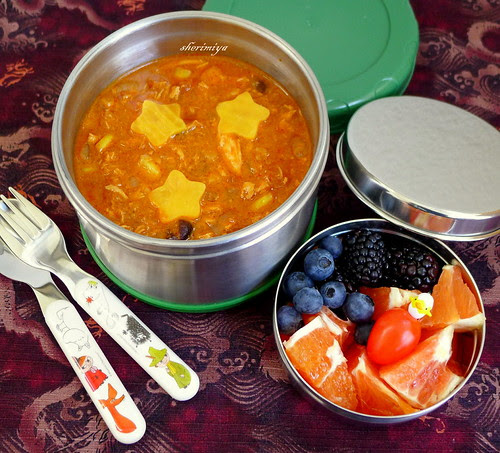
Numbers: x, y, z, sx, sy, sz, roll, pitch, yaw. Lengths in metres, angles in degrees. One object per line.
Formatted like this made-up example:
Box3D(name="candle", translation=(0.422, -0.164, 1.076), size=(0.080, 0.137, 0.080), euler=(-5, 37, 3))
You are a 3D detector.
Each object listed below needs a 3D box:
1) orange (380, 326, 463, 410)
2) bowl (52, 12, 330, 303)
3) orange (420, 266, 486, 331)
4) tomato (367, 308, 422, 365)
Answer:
Box3D(name="orange", translation=(0.451, 0.373, 1.395), size=(0.142, 0.052, 0.219), euler=(28, 79, 0))
Box3D(name="bowl", translation=(-0.180, -0.202, 1.462), size=(0.769, 0.322, 0.760), euler=(4, 60, -7))
Box3D(name="orange", translation=(0.542, 0.191, 1.440), size=(0.155, 0.061, 0.175), euler=(1, 51, 3))
Box3D(name="tomato", translation=(0.375, 0.292, 1.417), size=(0.150, 0.110, 0.109), euler=(-50, 52, 3))
